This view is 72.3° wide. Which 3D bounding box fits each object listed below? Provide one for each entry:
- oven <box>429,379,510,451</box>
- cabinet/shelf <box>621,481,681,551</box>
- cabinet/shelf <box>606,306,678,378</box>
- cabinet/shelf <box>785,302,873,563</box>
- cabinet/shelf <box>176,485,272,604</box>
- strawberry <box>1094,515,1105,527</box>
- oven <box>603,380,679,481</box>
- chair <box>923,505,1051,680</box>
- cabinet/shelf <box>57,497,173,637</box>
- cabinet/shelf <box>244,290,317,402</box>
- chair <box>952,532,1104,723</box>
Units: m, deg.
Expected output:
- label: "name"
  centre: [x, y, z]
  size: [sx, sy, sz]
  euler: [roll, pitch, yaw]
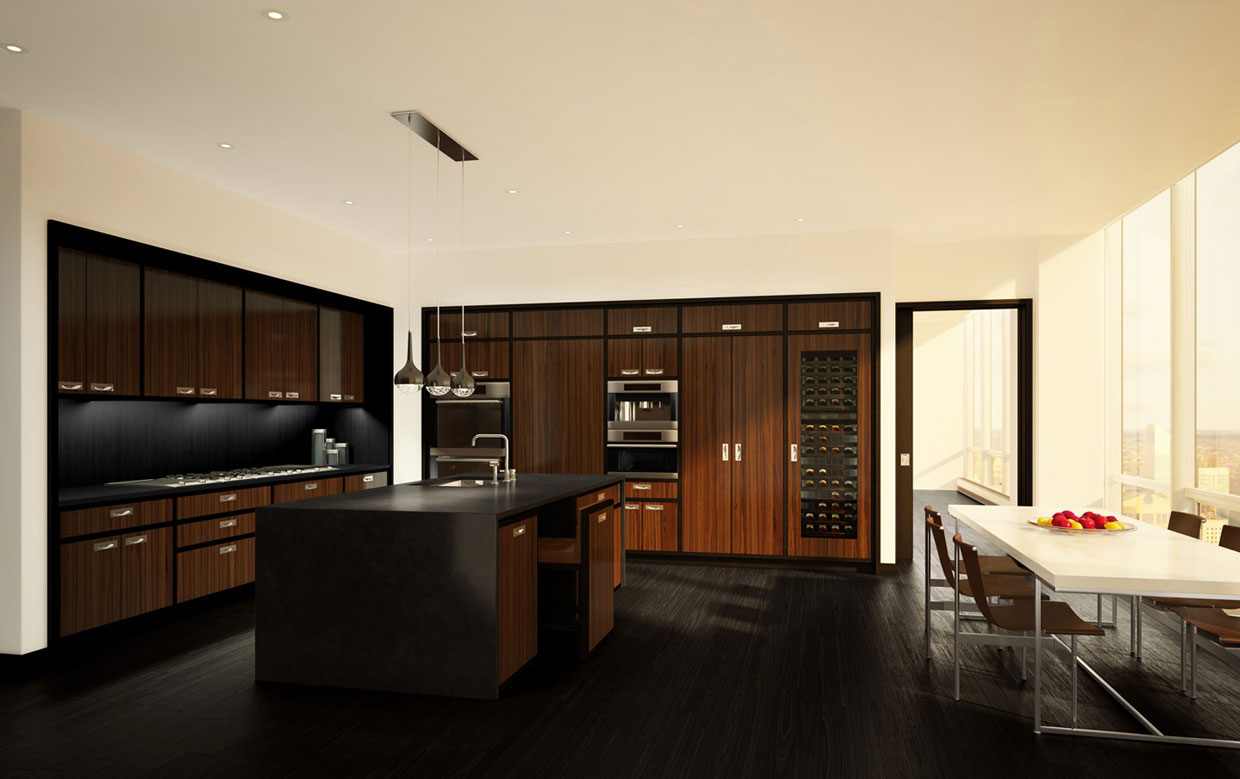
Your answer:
- label: "oven"
  centre: [-1.749, 0.417, 10.067]
  size: [0.888, 0.885, 0.631]
  euler: [-3, -23, -1]
- label: "cabinet/shelf"
  centre: [0.466, 1.428, 9.665]
  size: [0.710, 1.021, 0.678]
  euler: [-2, -7, 13]
- label: "cabinet/shelf"
  centre: [0.289, -0.523, 9.424]
  size: [0.752, 0.762, 0.308]
  euler: [0, -1, 11]
- label: "cabinet/shelf"
  centre: [2.244, 0.419, 9.017]
  size: [0.959, 2.650, 0.572]
  euler: [2, 11, 11]
- label: "cabinet/shelf"
  centre: [-3.529, 1.421, 7.944]
  size: [0.951, 0.949, 0.543]
  euler: [-10, -14, 4]
- label: "strawberry"
  centre: [3.655, 1.000, 6.461]
  size: [0.063, 0.075, 0.088]
  euler: [-9, 37, 43]
- label: "oven"
  centre: [0.268, 0.397, 9.712]
  size: [0.912, 1.131, 0.884]
  euler: [3, 10, 20]
- label: "chair"
  centre: [3.011, 1.712, 6.938]
  size: [0.952, 1.435, 0.868]
  euler: [-3, -20, 23]
- label: "cabinet/shelf"
  centre: [-4.174, 1.599, 7.274]
  size: [0.997, 1.105, 0.756]
  euler: [-11, -29, -8]
- label: "cabinet/shelf"
  centre: [-3.588, -0.399, 8.703]
  size: [0.372, 1.044, 1.097]
  euler: [-1, -1, 19]
- label: "chair"
  centre: [2.981, 1.717, 6.520]
  size: [1.227, 1.672, 1.170]
  euler: [-3, -6, 16]
